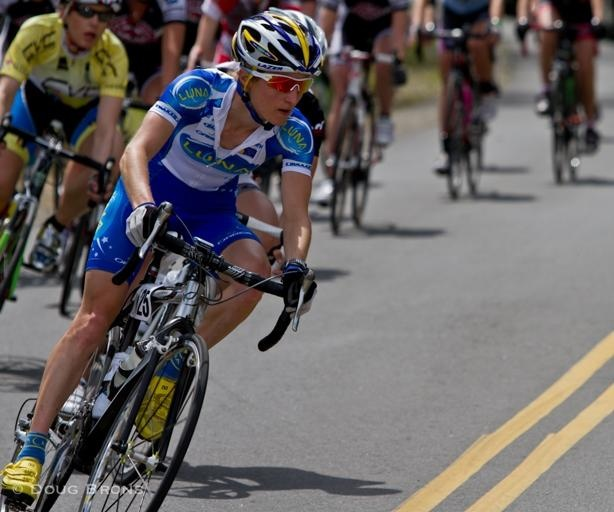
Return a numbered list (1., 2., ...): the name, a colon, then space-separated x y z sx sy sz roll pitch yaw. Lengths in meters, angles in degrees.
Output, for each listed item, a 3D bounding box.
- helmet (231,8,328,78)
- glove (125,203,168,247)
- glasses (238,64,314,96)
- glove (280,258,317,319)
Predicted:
1. helmet: -0.085 -0.787 2.854 0.229 0.168 0.311 -16 39 -24
2. glove: -0.542 -0.102 2.646 0.157 0.061 0.117 -43 42 31
3. glasses: -0.137 -0.674 2.917 0.144 0.063 0.190 4 16 -46
4. glove: -0.029 0.108 2.654 0.115 0.135 0.250 -8 34 0
